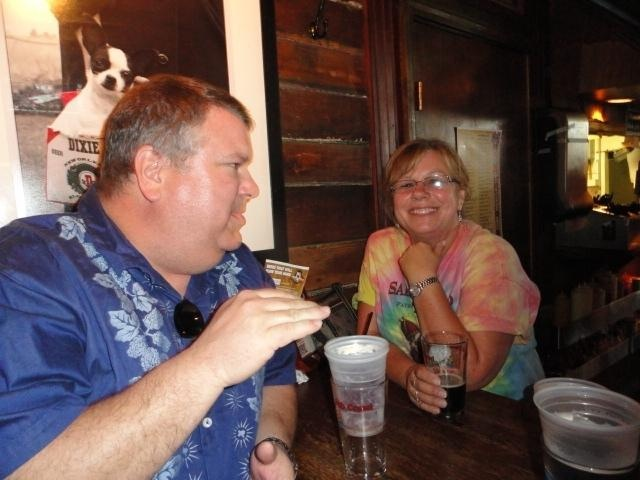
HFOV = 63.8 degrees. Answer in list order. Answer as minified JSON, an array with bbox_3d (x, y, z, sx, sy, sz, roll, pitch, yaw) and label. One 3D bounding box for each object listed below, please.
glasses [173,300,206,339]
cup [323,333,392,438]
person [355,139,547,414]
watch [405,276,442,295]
[{"bbox_3d":[-0.410,0.248,1.622,0.098,0.119,0.030,-1,-18,-32],"label":"glasses"},{"bbox_3d":[0.121,0.443,1.701,0.256,0.342,0.280,-2,6,0],"label":"cup"},{"bbox_3d":[0.599,0.119,2.461,0.806,1.119,0.893,-13,12,-35],"label":"person"},{"bbox_3d":[0.440,0.195,2.178,0.121,0.081,0.060,-1,8,7],"label":"watch"}]
